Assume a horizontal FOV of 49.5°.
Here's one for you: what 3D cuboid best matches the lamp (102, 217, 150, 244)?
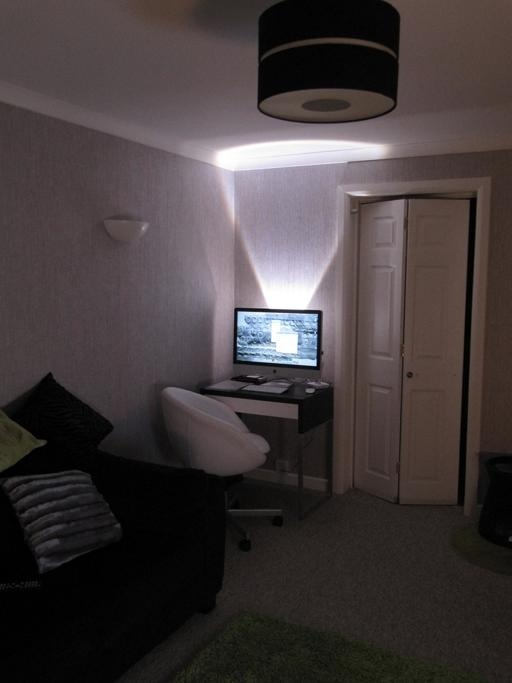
[{"bbox_3d":[-0.731,-0.608,3.073,0.156,0.113,0.228,1,3,20],"label":"lamp"}]

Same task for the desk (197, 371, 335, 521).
[{"bbox_3d":[0.107,0.660,3.847,0.721,0.746,0.446,4,9,33],"label":"desk"}]
